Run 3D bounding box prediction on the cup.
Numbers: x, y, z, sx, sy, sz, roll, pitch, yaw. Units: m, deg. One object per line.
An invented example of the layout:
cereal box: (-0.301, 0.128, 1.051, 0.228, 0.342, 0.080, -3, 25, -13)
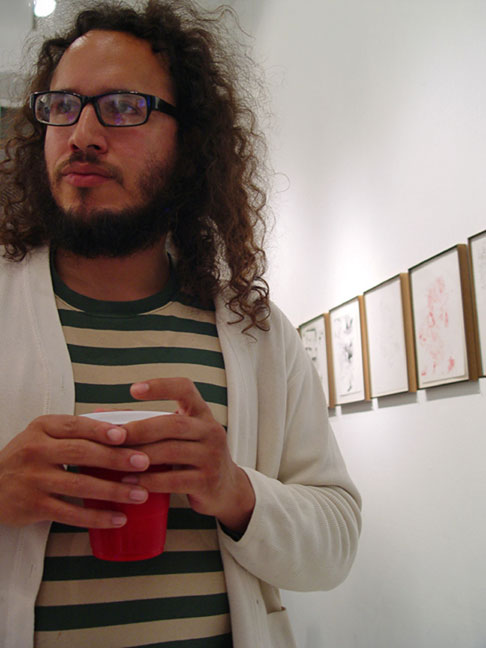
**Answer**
cup: (-0.118, 0.171, 0.657, 0.168, 0.186, 0.155, -1, -14, 0)
